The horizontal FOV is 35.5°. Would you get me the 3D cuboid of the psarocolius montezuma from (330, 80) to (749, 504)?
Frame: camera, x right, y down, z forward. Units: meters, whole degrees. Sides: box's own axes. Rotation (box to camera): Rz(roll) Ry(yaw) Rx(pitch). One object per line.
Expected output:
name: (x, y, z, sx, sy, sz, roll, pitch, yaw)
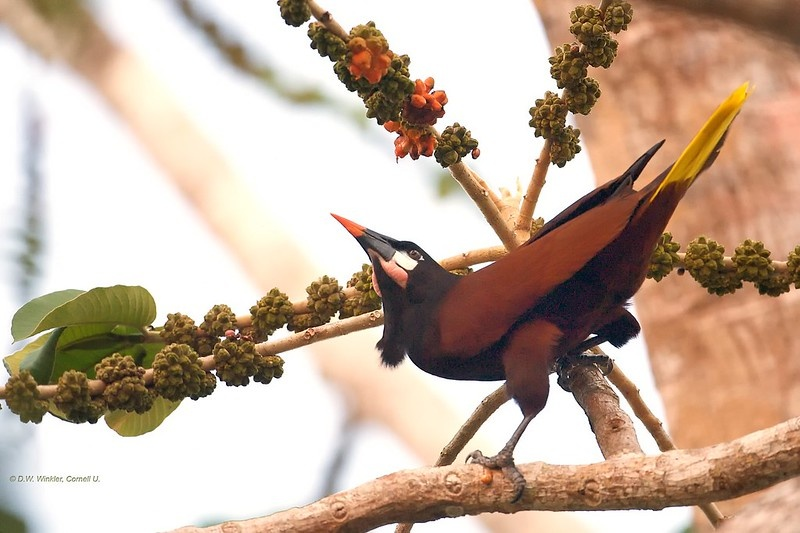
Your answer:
psarocolius montezuma: (0.552, 0.046, 4.385, 1.642, 1.001, 0.703, -19, -13, 27)
